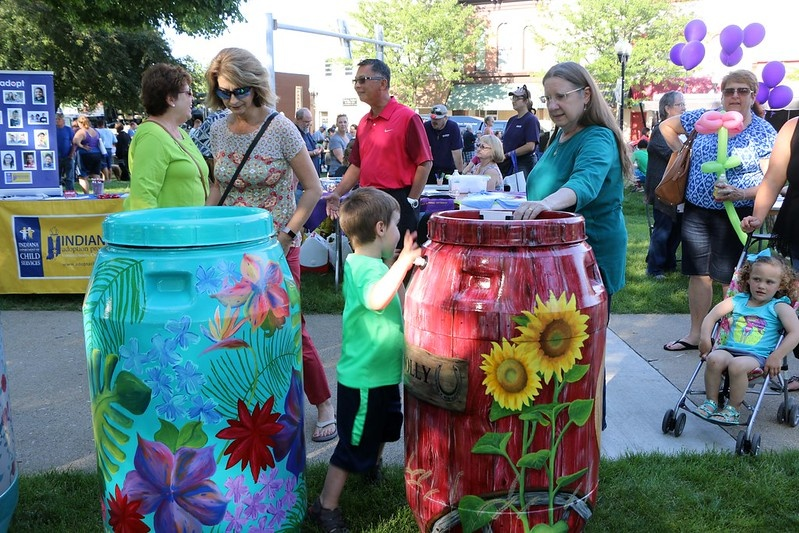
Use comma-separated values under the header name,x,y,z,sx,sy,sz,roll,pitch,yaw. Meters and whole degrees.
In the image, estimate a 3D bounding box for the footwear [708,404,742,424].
name,x,y,z,sx,sy,sz,roll,pitch,yaw
footwear,2.454,1.107,5.078,0.178,0.078,0.126,9,-11,-35

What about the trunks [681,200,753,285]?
name,x,y,z,sx,sy,sz,roll,pitch,yaw
trunks,2.869,-0.208,6.326,0.452,0.733,0.407,1,-33,25

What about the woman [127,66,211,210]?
name,x,y,z,sx,sy,sz,roll,pitch,yaw
woman,-1.716,-0.980,4.978,0.607,1.072,0.869,-1,12,-10

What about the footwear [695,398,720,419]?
name,x,y,z,sx,sy,sz,roll,pitch,yaw
footwear,2.345,1.075,5.126,0.081,0.110,0.232,5,-12,39

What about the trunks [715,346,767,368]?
name,x,y,z,sx,sy,sz,roll,pitch,yaw
trunks,2.607,0.695,5.135,0.329,0.119,0.076,6,12,20

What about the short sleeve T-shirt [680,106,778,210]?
name,x,y,z,sx,sy,sz,roll,pitch,yaw
short sleeve T-shirt,2.894,-0.934,5.931,0.504,0.912,0.888,-7,10,-44

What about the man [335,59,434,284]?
name,x,y,z,sx,sy,sz,roll,pitch,yaw
man,-0.145,-0.708,6.862,0.905,2.730,0.767,-2,3,26
